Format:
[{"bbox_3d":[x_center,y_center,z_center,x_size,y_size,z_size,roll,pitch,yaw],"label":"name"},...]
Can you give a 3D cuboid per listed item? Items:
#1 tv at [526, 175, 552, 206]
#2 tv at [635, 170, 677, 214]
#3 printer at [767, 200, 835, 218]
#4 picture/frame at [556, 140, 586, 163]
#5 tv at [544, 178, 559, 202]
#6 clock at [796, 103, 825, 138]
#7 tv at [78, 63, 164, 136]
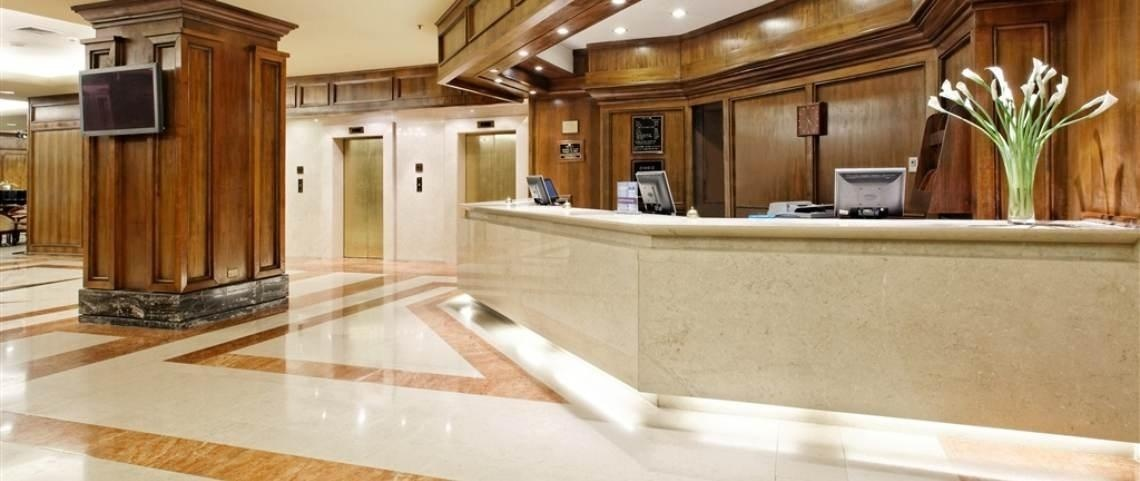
[{"bbox_3d":[-0.609,-0.989,12.497,0.190,0.404,0.862,-17,14,-21],"label":"tv"},{"bbox_3d":[1.350,-0.794,10.520,0.384,0.704,0.657,-10,17,-31],"label":"tv"},{"bbox_3d":[3.530,-0.457,9.832,0.948,0.183,0.967,4,13,16],"label":"printer"},{"bbox_3d":[0.035,-2.055,14.609,0.785,0.454,0.050,1,7,7],"label":"picture/frame"},{"bbox_3d":[-0.400,-0.943,12.201,0.273,0.403,0.439,-2,14,-6],"label":"tv"},{"bbox_3d":[4.602,-2.316,12.226,0.546,0.652,0.298,3,16,14],"label":"clock"},{"bbox_3d":[-7.766,-2.471,11.169,1.902,0.946,0.210,1,5,14],"label":"tv"}]
